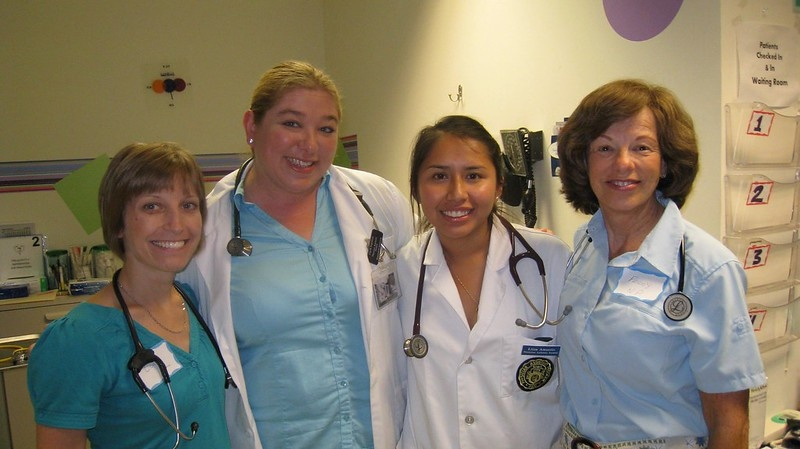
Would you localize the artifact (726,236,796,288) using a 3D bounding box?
[{"bbox_3d":[2.120,0.217,3.491,0.309,0.199,0.162,-6,14,-15],"label":"artifact"}]

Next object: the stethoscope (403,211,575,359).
[{"bbox_3d":[0.467,0.353,3.159,0.804,0.648,0.131,-8,-24,-1],"label":"stethoscope"}]

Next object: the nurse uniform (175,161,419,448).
[{"bbox_3d":[-0.577,0.478,3.107,1.524,1.366,0.821,-8,2,-26],"label":"nurse uniform"}]
